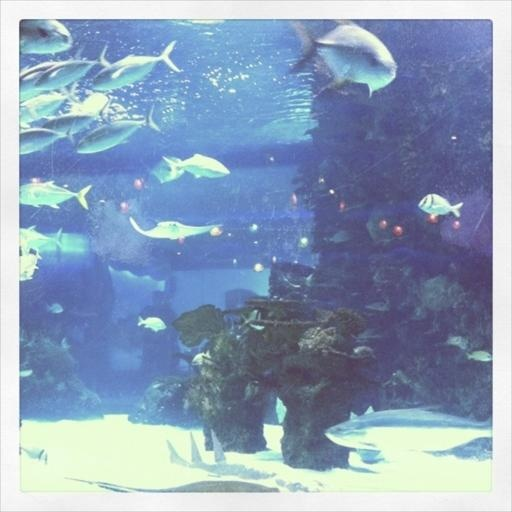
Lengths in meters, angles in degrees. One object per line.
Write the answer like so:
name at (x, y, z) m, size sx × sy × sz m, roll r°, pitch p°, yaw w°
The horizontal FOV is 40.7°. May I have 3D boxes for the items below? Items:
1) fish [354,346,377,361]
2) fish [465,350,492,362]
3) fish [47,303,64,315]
fish at (0.725, 0.646, 4.653) m, size 0.148 × 0.090 × 0.012 m, roll 0°, pitch 1°, yaw -9°
fish at (1.512, 0.673, 4.659) m, size 0.206 × 0.086 × 0.059 m, roll 1°, pitch -1°, yaw 2°
fish at (-1.368, 0.354, 4.705) m, size 0.110 × 0.071 × 0.010 m, roll 0°, pitch 1°, yaw -7°
